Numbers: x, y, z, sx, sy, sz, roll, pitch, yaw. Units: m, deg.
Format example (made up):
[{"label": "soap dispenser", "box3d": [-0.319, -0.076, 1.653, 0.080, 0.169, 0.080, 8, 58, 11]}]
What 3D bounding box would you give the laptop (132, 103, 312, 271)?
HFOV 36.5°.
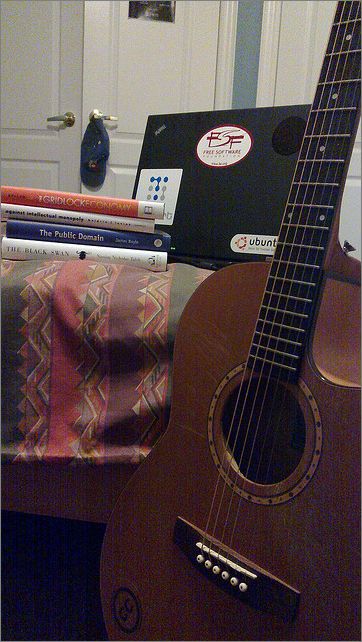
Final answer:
[{"label": "laptop", "box3d": [0.101, -0.224, 1.217, 0.350, 0.447, 0.299, -5, -8, 25]}]
